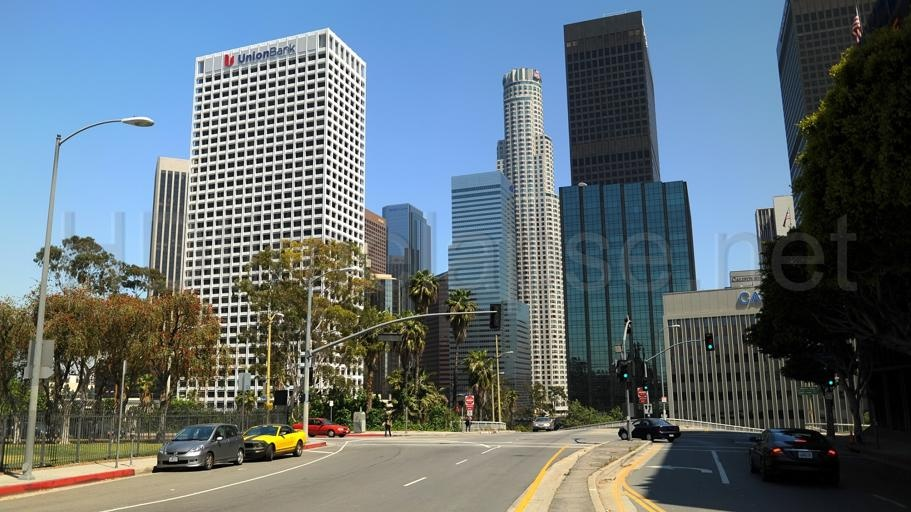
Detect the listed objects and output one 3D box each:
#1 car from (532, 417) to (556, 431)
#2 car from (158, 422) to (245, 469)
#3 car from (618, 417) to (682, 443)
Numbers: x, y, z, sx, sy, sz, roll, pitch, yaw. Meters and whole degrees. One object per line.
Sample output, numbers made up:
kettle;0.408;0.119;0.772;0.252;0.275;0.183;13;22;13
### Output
car;11.548;21.878;102.025;2.215;1.949;5.057;-8;-14;16
car;-19.492;14.657;60.191;6.102;3.435;2.037;2;-14;-22
car;18.774;16.875;76.402;2.514;1.819;5.752;7;-9;-43
